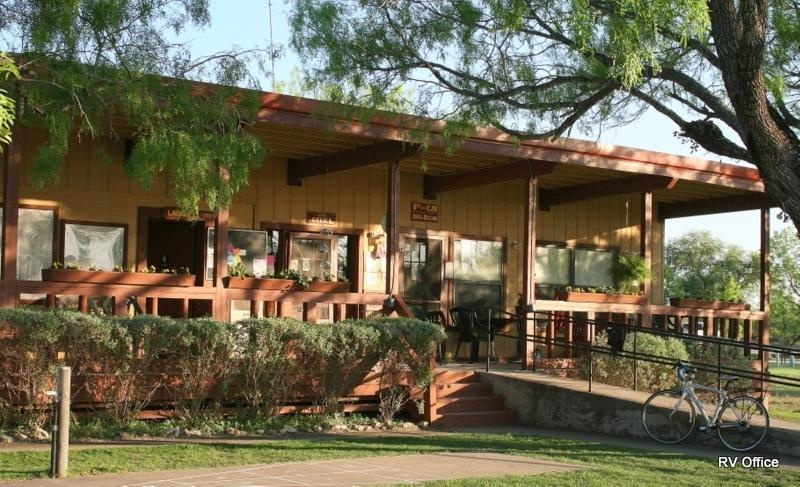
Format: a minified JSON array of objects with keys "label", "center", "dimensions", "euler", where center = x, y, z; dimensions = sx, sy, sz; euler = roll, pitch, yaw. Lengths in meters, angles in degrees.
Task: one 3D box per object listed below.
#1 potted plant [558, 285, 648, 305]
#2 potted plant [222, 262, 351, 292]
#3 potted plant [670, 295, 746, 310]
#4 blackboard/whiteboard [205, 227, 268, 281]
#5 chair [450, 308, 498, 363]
[{"label":"potted plant","center":[4.428,1.129,21.526],"dimensions":[2.231,0.414,0.800],"euler":[7,-7,-34]},{"label":"potted plant","center":[-2.235,0.705,19.066],"dimensions":[2.502,0.474,0.671],"euler":[6,-7,-26]},{"label":"potted plant","center":[7.271,1.417,22.942],"dimensions":[2.560,0.283,0.312],"euler":[6,-7,-28]},{"label":"blackboard/whiteboard","center":[-3.300,0.186,19.411],"dimensions":[0.988,0.909,0.342],"euler":[3,-5,-29]},{"label":"chair","center":[1.559,1.967,21.221],"dimensions":[0.821,1.056,0.849],"euler":[-3,-8,22]}]
